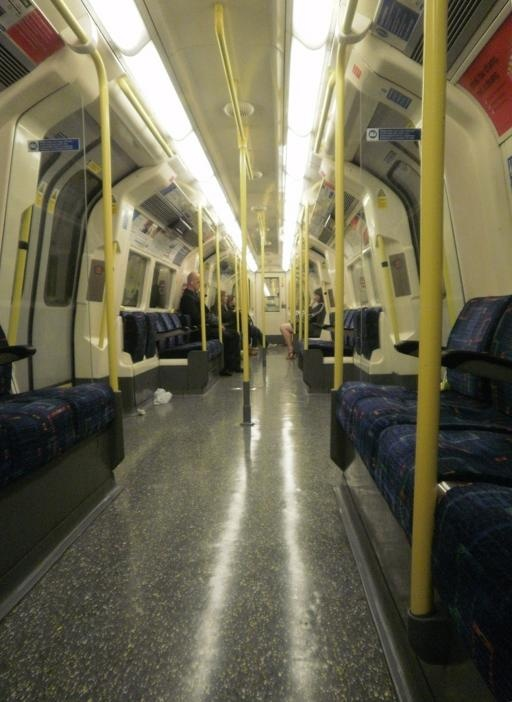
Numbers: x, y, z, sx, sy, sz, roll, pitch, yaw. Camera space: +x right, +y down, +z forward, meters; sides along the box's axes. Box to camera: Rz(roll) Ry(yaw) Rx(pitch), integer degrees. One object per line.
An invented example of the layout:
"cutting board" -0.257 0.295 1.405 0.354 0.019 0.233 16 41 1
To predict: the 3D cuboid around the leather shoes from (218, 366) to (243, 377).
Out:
"leather shoes" -0.473 0.367 7.837 0.451 0.234 0.158 -2 3 8
